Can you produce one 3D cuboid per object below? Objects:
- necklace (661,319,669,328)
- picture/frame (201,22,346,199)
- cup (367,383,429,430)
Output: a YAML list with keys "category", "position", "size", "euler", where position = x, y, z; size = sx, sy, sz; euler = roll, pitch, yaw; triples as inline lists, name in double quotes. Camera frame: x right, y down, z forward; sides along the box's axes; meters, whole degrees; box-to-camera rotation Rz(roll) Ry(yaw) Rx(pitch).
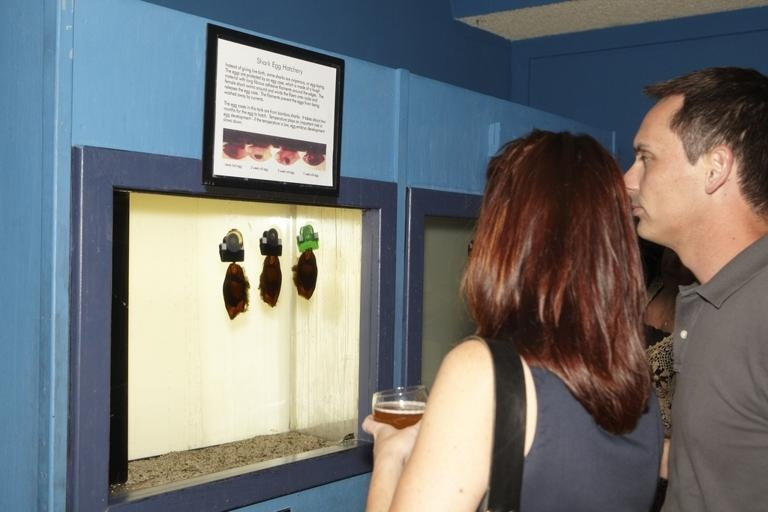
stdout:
- category: "necklace"
  position: [0.906, 0.215, 2.277]
  size: [0.025, 0.026, 0.007]
  euler: [-3, -11, 20]
- category: "picture/frame"
  position: [-0.331, -0.410, 2.061]
  size: [0.522, 0.469, 0.038]
  euler: [4, 2, -42]
- category: "cup"
  position: [0.033, 0.423, 1.844]
  size: [0.113, 0.124, 0.125]
  euler: [0, -8, 43]
